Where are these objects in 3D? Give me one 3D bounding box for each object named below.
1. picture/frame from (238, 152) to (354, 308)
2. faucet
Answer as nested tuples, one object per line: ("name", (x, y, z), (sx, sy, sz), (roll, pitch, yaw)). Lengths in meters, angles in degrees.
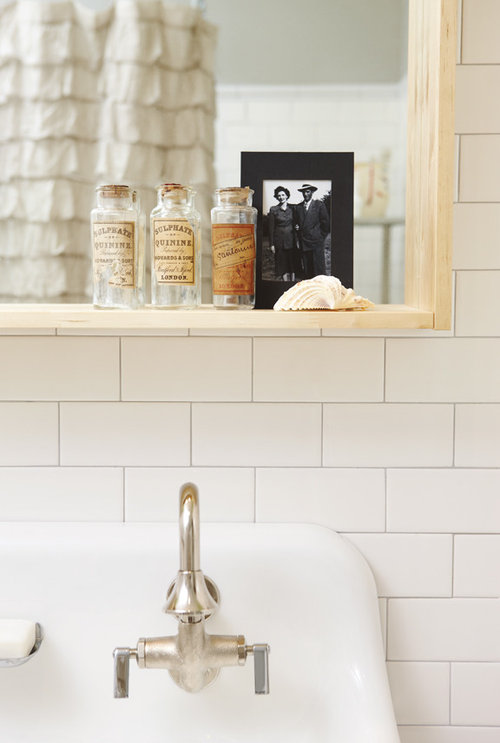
("picture/frame", (0.049, -0.168, 1.047), (0.168, 0.268, 0.009), (0, -1, -8))
("faucet", (-0.067, 0.259, 1.017), (0.216, 0.322, 0.116), (0, 3, -3))
